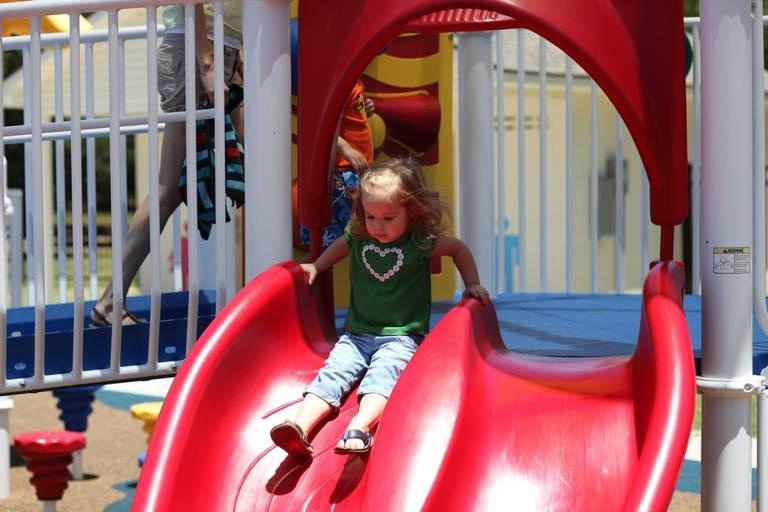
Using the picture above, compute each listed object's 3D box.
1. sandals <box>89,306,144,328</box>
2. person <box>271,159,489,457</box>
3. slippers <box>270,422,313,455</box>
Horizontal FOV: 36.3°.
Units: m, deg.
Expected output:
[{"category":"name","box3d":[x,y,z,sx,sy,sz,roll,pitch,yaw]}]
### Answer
[{"category":"sandals","box3d":[-1.312,0.326,5.806,0.337,0.129,0.139,-2,-2,18]},{"category":"person","box3d":[0.010,0.254,5.272,0.746,0.821,1.332,7,41,17]},{"category":"slippers","box3d":[-0.392,0.783,4.916,0.096,0.198,0.084,-23,32,18]}]
